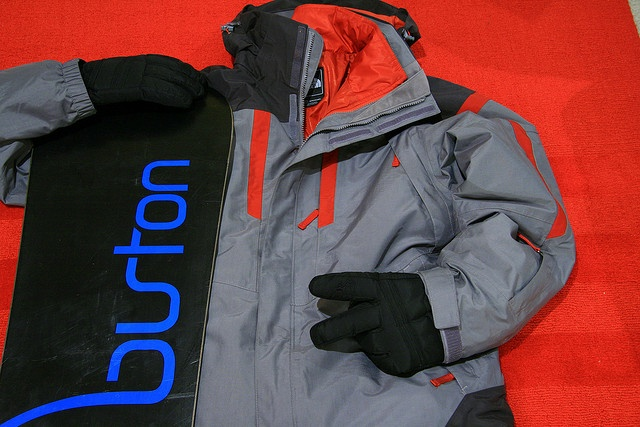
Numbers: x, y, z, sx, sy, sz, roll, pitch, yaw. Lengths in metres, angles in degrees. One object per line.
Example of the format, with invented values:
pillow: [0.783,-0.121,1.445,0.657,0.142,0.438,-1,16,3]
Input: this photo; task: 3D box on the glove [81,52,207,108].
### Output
glove: [-0.666,-0.494,2.375,0.351,0.204,0.091,-7,-30,-10]

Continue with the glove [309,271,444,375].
glove: [0.195,0.384,2.195,0.457,0.347,0.129,-1,-23,2]
